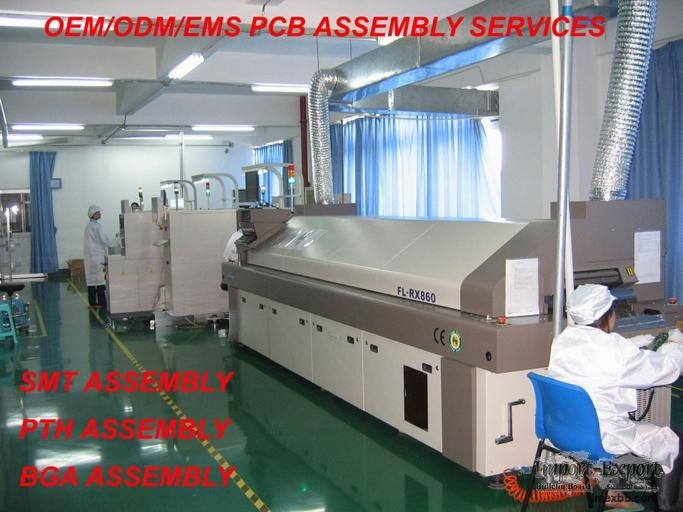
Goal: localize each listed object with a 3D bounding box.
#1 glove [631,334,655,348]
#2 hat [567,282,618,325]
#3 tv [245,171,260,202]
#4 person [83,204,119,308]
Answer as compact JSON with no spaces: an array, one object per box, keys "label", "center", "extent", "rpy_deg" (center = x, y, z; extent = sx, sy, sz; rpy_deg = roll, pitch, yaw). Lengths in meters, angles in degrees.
[{"label":"glove","center":[1.594,0.452,2.798],"extent":[0.078,0.024,0.077],"rpy_deg":[-15,15,-38]},{"label":"hat","center":[1.196,0.228,2.547],"extent":[0.200,0.196,0.078],"rpy_deg":[-42,-22,8]},{"label":"tv","center":[-1.415,-1.106,8.393],"extent":[0.172,0.475,0.830],"rpy_deg":[-4,8,-15]},{"label":"person","center":[-3.931,-0.005,8.601],"extent":[0.467,1.561,0.810],"rpy_deg":[-5,8,-24]}]
